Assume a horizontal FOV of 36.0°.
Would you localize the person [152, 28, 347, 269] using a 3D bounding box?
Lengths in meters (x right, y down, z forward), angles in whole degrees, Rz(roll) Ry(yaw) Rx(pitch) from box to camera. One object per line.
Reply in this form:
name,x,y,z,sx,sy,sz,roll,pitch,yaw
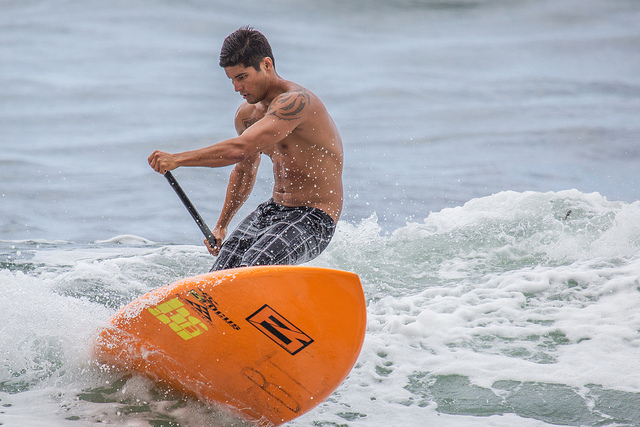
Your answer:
person,-0.556,-0.507,8.457,1.297,2.072,1.221,24,31,32
